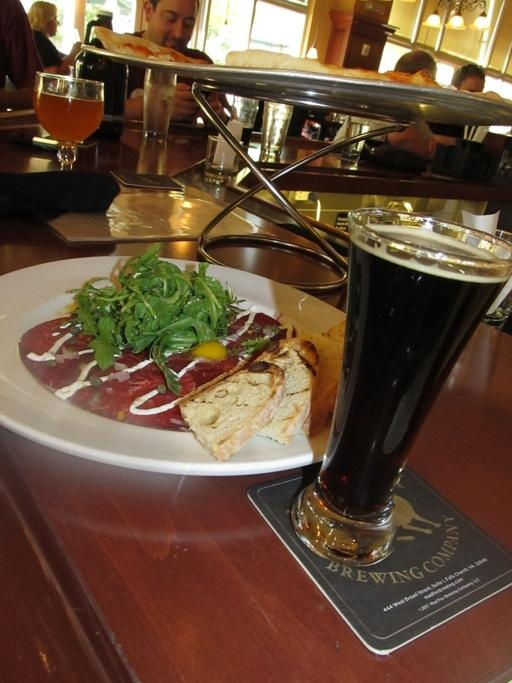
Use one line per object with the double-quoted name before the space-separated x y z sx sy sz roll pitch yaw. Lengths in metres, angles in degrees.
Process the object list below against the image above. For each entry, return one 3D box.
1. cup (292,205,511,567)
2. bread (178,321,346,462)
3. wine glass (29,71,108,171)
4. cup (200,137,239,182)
"cup" 0.081 0.040 0.361 0.101 0.225 0.068 17 25 4
"bread" 0.019 0.032 0.502 0.085 0.043 0.159 18 29 24
"wine glass" -0.509 -0.586 1.443 0.168 0.225 0.177 32 29 34
"cup" -0.127 -0.590 1.788 0.153 0.158 0.149 3 40 -3
